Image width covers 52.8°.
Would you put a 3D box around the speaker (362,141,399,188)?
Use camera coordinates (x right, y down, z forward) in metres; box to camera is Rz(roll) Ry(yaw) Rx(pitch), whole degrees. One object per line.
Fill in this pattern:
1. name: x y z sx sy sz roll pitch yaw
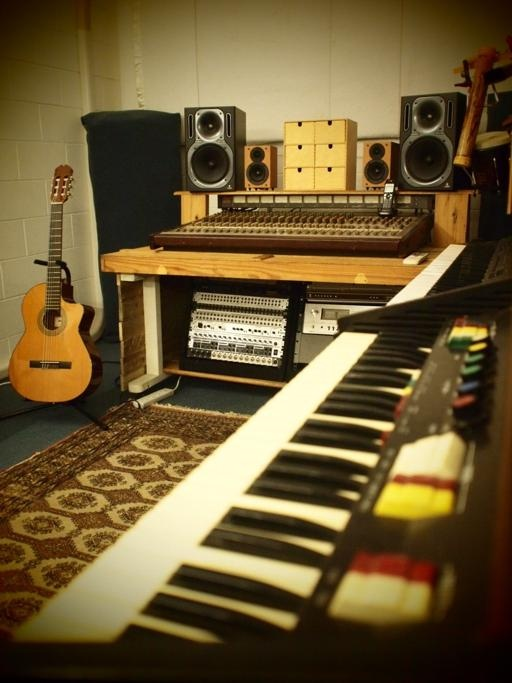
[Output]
1. speaker: 0.689 -0.944 2.759 0.253 0.253 0.114 -12 12 -19

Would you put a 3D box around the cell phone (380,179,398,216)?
1. cell phone: 0.641 -0.682 2.488 0.059 0.221 0.051 4 -25 23

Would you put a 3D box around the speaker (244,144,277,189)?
1. speaker: 0.023 -0.999 2.997 0.215 0.253 0.184 -7 12 2
